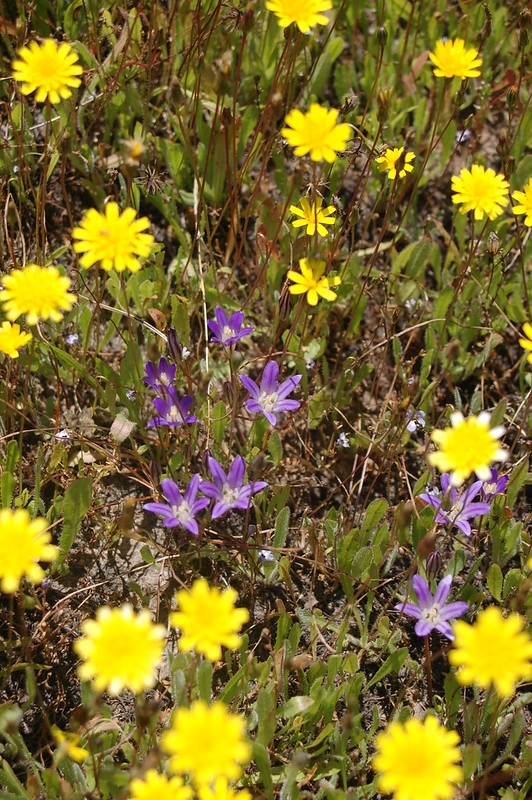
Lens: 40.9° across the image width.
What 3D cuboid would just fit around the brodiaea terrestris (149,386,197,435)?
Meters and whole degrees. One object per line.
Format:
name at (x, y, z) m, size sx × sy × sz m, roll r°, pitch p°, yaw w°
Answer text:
brodiaea terrestris at (-0.250, 0.023, 1.891) m, size 0.108 × 0.124 × 0.155 m, roll -6°, pitch 10°, yaw -11°

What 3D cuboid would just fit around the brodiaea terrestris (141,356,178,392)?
brodiaea terrestris at (-0.286, -0.086, 1.906) m, size 0.077 × 0.047 × 0.099 m, roll -14°, pitch 70°, yaw -9°

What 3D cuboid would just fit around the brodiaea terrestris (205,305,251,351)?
brodiaea terrestris at (-0.109, -0.191, 1.969) m, size 0.106 × 0.066 × 0.124 m, roll -20°, pitch 63°, yaw -24°
